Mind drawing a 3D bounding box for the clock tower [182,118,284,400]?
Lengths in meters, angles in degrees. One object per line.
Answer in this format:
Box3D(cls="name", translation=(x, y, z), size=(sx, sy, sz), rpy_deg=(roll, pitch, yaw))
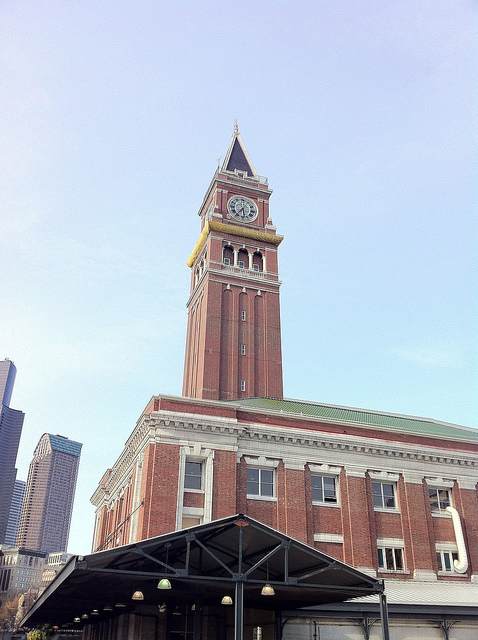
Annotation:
Box3D(cls="clock tower", translation=(-0.368, -8.530, 61.122), size=(9.345, 36.490, 6.445), rpy_deg=(-2, -28, 7))
